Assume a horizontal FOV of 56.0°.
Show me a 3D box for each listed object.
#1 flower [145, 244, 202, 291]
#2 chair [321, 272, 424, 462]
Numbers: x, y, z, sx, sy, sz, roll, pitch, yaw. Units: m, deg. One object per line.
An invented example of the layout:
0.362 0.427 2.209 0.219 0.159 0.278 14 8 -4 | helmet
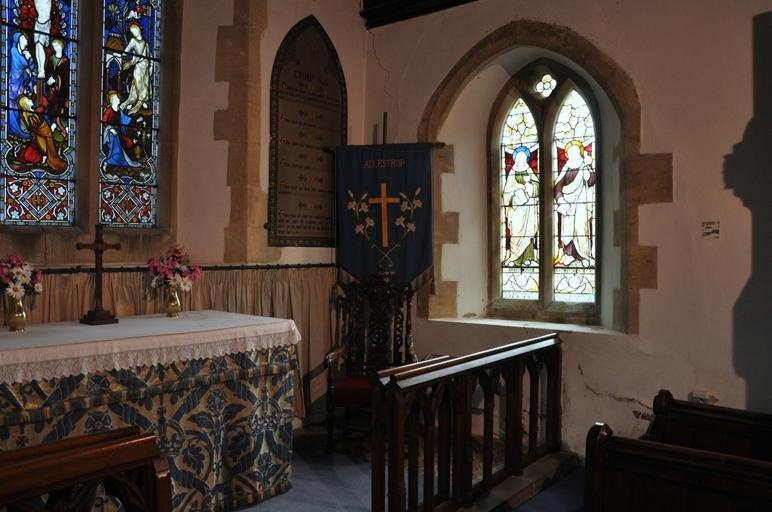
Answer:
-1.695 0.080 5.746 0.381 0.428 0.374 2 0 -1 | flower
-0.121 0.912 6.306 0.906 1.397 0.892 2 0 -7 | chair
